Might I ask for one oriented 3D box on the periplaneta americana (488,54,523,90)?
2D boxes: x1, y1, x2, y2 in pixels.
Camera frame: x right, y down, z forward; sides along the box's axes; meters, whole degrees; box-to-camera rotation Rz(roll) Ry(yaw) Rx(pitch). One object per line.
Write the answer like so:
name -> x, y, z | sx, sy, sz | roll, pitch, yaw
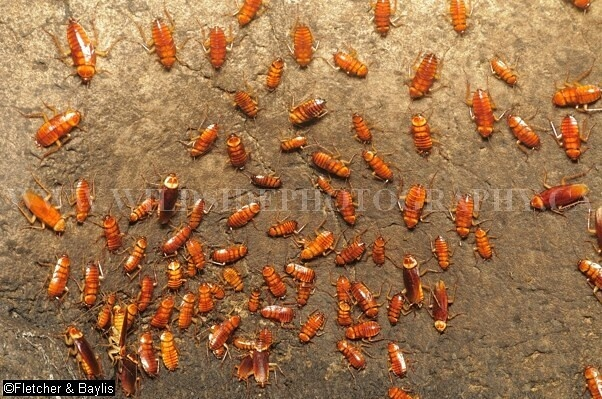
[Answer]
periplaneta americana -> 2.281, -1.455, 6.815 | 0.251, 0.101, 0.339 | -44, 79, -2
